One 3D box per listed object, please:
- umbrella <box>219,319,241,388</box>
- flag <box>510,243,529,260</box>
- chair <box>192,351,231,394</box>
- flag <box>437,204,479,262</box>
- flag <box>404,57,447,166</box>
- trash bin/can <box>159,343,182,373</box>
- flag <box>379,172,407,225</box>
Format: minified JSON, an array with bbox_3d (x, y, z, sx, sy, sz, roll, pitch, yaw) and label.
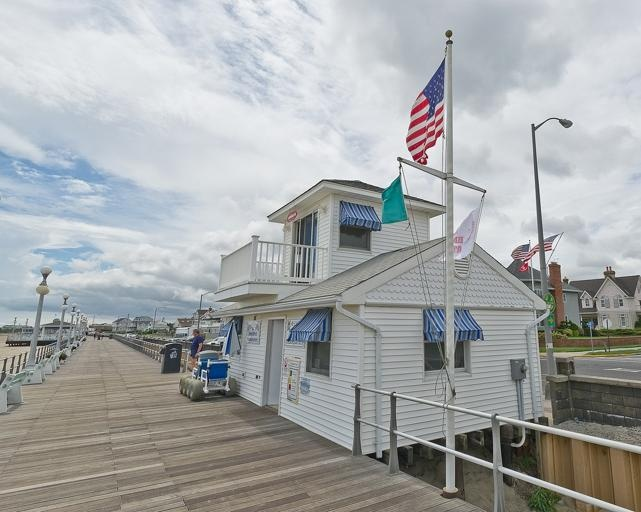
[{"bbox_3d":[-3.933,4.131,15.939,0.878,0.839,3.545,18,-52,2],"label":"umbrella"},{"bbox_3d":[10.039,-0.092,19.261,0.071,0.788,0.772,14,-15,-23],"label":"flag"},{"bbox_3d":[-4.083,4.391,14.396,1.252,1.781,1.826,8,-23,-31],"label":"chair"},{"bbox_3d":[3.374,-0.475,8.785,0.596,0.168,1.695,-7,-35,5],"label":"flag"},{"bbox_3d":[2.429,-3.128,8.790,0.313,2.057,1.045,11,-14,-31],"label":"flag"},{"bbox_3d":[-7.561,5.247,19.412,0.832,1.532,1.076,8,-13,-20],"label":"trash bin/can"},{"bbox_3d":[1.731,-1.264,9.155,0.560,1.119,1.169,1,-12,10],"label":"flag"}]
